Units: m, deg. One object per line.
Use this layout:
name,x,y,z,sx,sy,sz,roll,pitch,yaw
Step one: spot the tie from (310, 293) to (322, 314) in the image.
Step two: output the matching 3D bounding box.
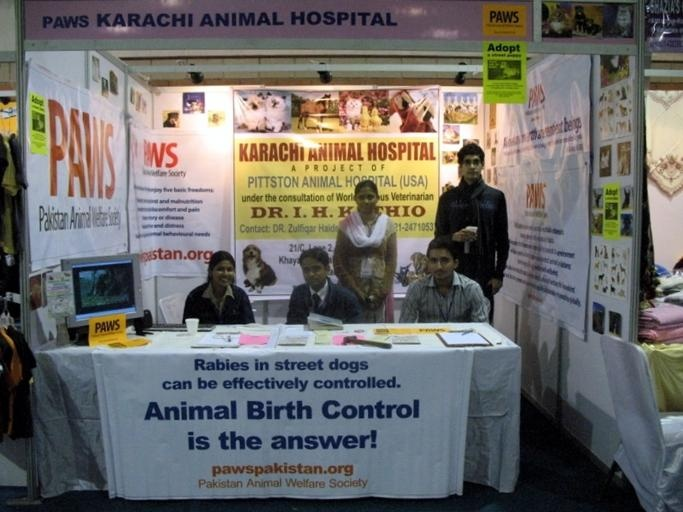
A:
tie,-0.219,0.410,5.611,0.078,0.172,0.041,4,-2,9

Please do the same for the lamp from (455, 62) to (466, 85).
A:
lamp,1.154,-1.746,6.200,0.110,0.198,0.778,-1,8,11

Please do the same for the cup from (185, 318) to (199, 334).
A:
cup,-1.018,0.474,4.393,0.080,0.097,0.090,-1,-5,22

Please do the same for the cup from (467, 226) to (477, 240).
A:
cup,1.056,-0.187,5.207,0.086,0.118,0.096,-1,1,15

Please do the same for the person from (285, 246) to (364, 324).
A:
person,-0.155,0.255,5.640,0.655,0.644,0.302,-3,6,2

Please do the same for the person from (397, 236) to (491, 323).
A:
person,0.754,-0.030,4.783,0.731,0.863,0.494,-1,0,9

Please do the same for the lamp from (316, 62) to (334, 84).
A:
lamp,-0.150,-1.677,5.943,0.120,0.229,0.195,-1,4,-6

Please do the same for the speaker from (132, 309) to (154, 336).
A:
speaker,-1.357,0.453,4.449,0.123,0.201,0.131,-1,1,-3
